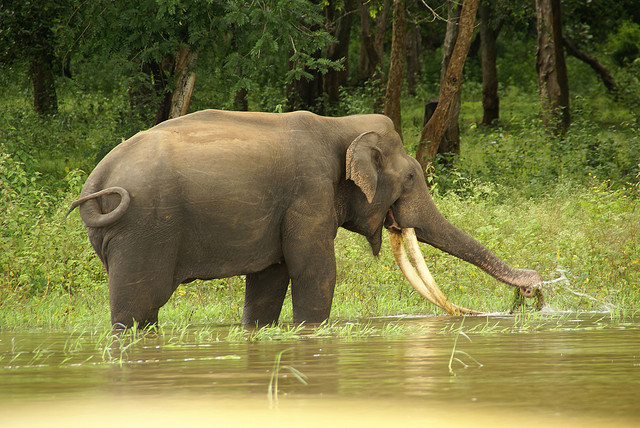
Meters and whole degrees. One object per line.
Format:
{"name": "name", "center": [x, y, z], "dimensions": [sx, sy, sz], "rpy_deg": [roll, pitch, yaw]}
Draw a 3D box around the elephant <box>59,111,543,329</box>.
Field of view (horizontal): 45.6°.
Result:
{"name": "elephant", "center": [-0.059, 0.377, 9.319], "dimensions": [5.674, 3.124, 2.007], "rpy_deg": [-1, 7, -18]}
